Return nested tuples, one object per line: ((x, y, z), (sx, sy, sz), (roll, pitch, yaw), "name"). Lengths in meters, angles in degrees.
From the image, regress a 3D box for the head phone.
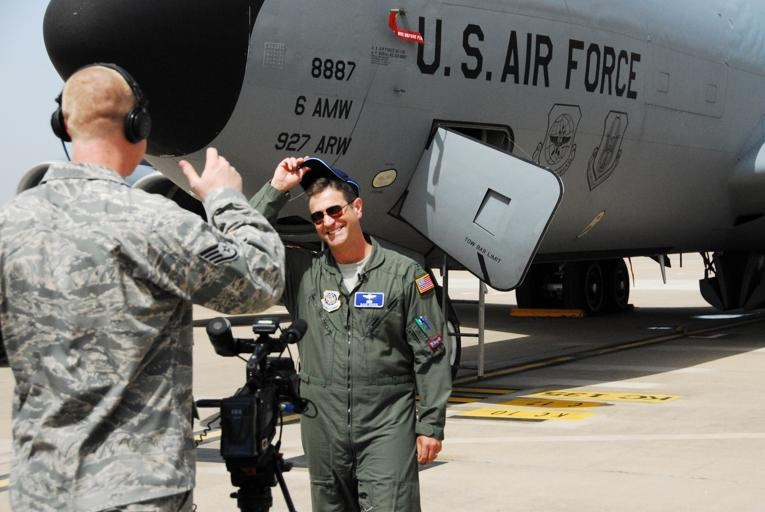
((-1.328, -0.706, 3.619), (0.416, 0.380, 0.168), (0, 0, -1), "head phone")
